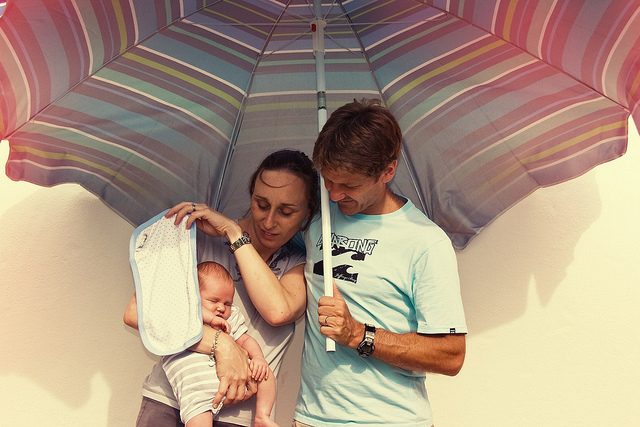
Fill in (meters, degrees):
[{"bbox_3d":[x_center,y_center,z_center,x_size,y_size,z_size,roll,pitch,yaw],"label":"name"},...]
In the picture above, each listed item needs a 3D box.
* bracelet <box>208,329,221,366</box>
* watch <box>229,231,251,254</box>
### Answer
[{"bbox_3d":[-0.559,0.711,2.771,0.033,0.153,0.096,13,-49,-12],"label":"bracelet"},{"bbox_3d":[-0.433,0.153,2.876,0.043,0.102,0.102,42,-61,-18],"label":"watch"}]
